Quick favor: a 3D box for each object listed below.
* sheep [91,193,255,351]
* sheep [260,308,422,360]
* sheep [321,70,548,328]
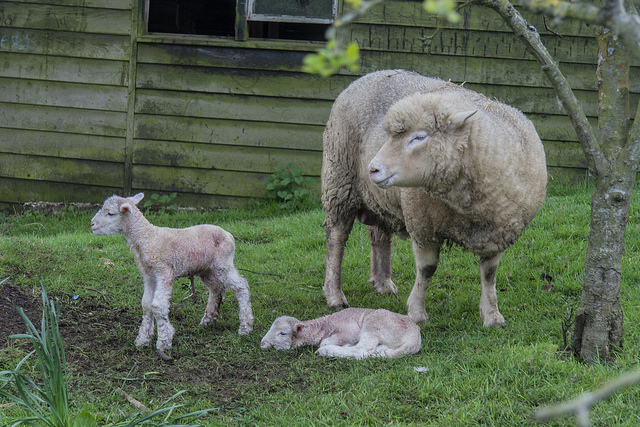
[{"bbox_3d":[-1.709,0.639,11.919,1.922,1.795,0.686,0,5,-23],"label":"sheep"},{"bbox_3d":[0.155,1.479,11.903,1.996,0.771,0.699,-3,-13,9],"label":"sheep"},{"bbox_3d":[1.182,-0.204,12.182,1.664,2.933,2.555,-5,11,-43],"label":"sheep"}]
